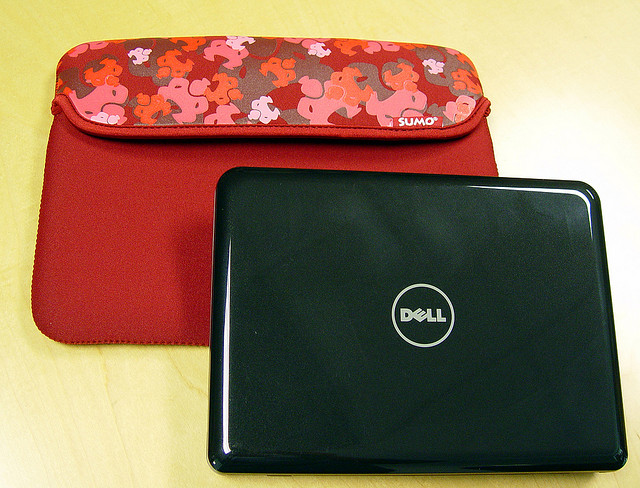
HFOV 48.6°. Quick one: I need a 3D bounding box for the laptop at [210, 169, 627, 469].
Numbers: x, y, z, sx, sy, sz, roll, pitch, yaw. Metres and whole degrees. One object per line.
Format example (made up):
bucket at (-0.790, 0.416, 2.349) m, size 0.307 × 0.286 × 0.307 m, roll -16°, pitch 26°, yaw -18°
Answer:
laptop at (0.120, 0.085, 0.861) m, size 0.492 × 0.077 × 0.355 m, roll 0°, pitch 84°, yaw 2°
